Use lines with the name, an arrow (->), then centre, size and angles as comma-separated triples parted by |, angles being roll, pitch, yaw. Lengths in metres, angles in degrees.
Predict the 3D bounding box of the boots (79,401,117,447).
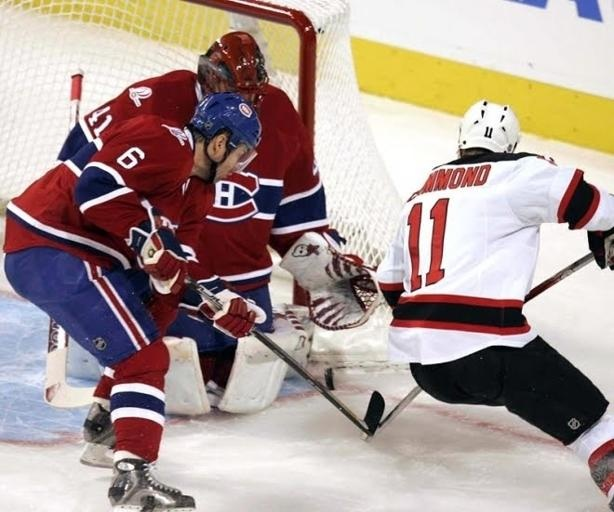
boots -> -0.622, 0.509, 2.458 | 0.134, 0.103, 0.094 | 4, -2, -25

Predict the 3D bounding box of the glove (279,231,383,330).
glove -> 0.083, 0.083, 2.992 | 0.301, 0.175, 0.366 | -26, 55, 3

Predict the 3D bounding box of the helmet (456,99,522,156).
helmet -> 0.587, -0.427, 2.758 | 0.201, 0.183, 0.204 | 13, 49, 15

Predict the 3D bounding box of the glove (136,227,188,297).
glove -> -0.396, 0.018, 2.254 | 0.109, 0.192, 0.106 | 35, 34, 30

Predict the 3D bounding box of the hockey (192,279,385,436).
hockey -> -0.103, 0.376, 2.966 | 0.116, 0.335, 0.998 | 37, 2, -40
